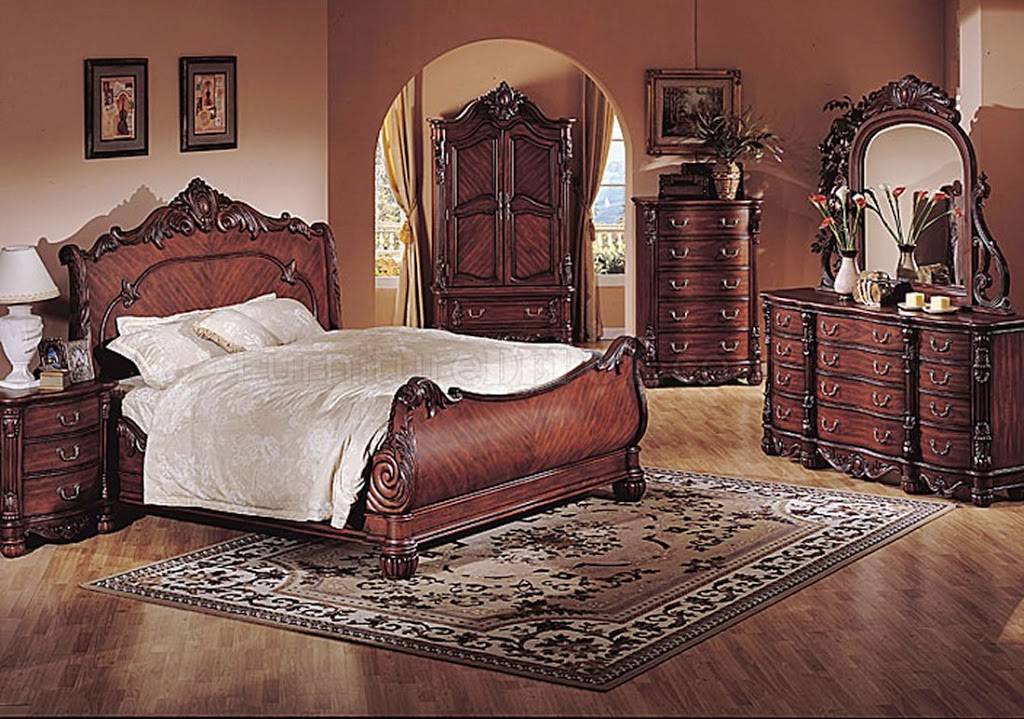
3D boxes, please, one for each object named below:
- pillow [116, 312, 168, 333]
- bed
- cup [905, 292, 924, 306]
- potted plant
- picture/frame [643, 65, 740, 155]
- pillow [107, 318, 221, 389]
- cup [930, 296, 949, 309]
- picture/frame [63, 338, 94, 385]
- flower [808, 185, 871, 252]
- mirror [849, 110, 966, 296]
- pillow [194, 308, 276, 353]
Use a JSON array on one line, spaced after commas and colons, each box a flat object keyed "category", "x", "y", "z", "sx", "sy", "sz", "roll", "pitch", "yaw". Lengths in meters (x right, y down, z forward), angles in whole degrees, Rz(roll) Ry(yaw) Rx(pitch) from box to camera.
[{"category": "pillow", "x": -2.129, "y": -0.227, "z": 4.687, "sx": 0.155, "sy": 0.027, "sz": 0.165, "roll": 24, "pitch": 32, "yaw": 29}, {"category": "bed", "x": -0.776, "y": 0.151, "z": 4.722, "sx": 2.852, "sy": 1.954, "sz": 2.824, "roll": 5, "pitch": 10, "yaw": 35}, {"category": "cup", "x": 2.463, "y": -0.372, "z": 4.649, "sx": 0.105, "sy": 0.065, "sz": 0.097, "roll": -1, "pitch": 9, "yaw": 0}, {"category": "potted plant", "x": 2.331, "y": -2.084, "z": 7.583, "sx": 0.851, "sy": 0.969, "sz": 0.578, "roll": 0, "pitch": 7, "yaw": 6}, {"category": "picture/frame", "x": 1.895, "y": -2.627, "z": 7.689, "sx": 1.176, "sy": 0.897, "sz": 0.174, "roll": -1, "pitch": 7, "yaw": -5}, {"category": "pillow", "x": -1.840, "y": -0.039, "z": 4.387, "sx": 0.444, "sy": 0.107, "sz": 0.466, "roll": 38, "pitch": 37, "yaw": 15}, {"category": "cup", "x": 2.551, "y": -0.342, "z": 4.593, "sx": 0.103, "sy": 0.066, "sz": 0.097, "roll": -3, "pitch": 10, "yaw": 0}, {"category": "picture/frame", "x": -2.192, "y": 0.011, "z": 4.152, "sx": 0.220, "sy": 0.222, "sz": 0.020, "roll": -6, "pitch": 2, "yaw": 33}, {"category": "flower", "x": 2.339, "y": -0.995, "z": 5.418, "sx": 0.419, "sy": 0.464, "sz": 0.339, "roll": -8, "pitch": -4, "yaw": -17}, {"category": "mirror", "x": 2.619, "y": -1.046, "z": 5.035, "sx": 0.122, "sy": 1.109, "sz": 0.800, "roll": -4, "pitch": 7, "yaw": -21}, {"category": "pillow", "x": -1.599, "y": -0.170, "z": 4.755, "sx": 0.333, "sy": 0.095, "sz": 0.309, "roll": 38, "pitch": 29, "yaw": 20}]
